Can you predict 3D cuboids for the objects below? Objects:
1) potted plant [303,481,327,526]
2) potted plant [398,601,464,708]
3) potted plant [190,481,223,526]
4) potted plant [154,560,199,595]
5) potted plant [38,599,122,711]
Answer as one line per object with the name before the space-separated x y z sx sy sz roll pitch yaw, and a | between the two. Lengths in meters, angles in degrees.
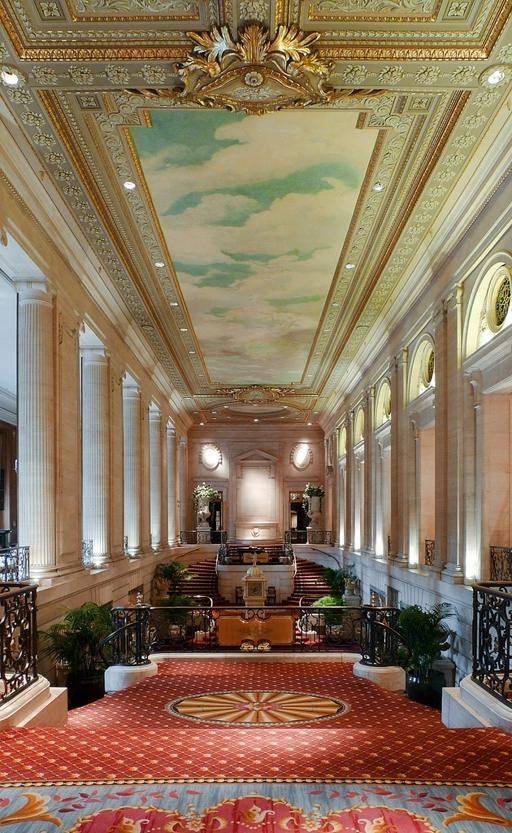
potted plant | 3.429 5.290 30.540 1.204 2.622 1.970 -1 -8 6
potted plant | 2.881 3.990 8.803 0.900 1.401 1.431 -4 -9 26
potted plant | -2.921 5.119 30.297 1.484 2.743 3.281 0 -9 2
potted plant | -3.281 6.437 20.571 0.871 1.321 2.475 -3 -9 18
potted plant | -2.859 3.837 8.444 1.131 1.413 0.878 1 -8 -6
